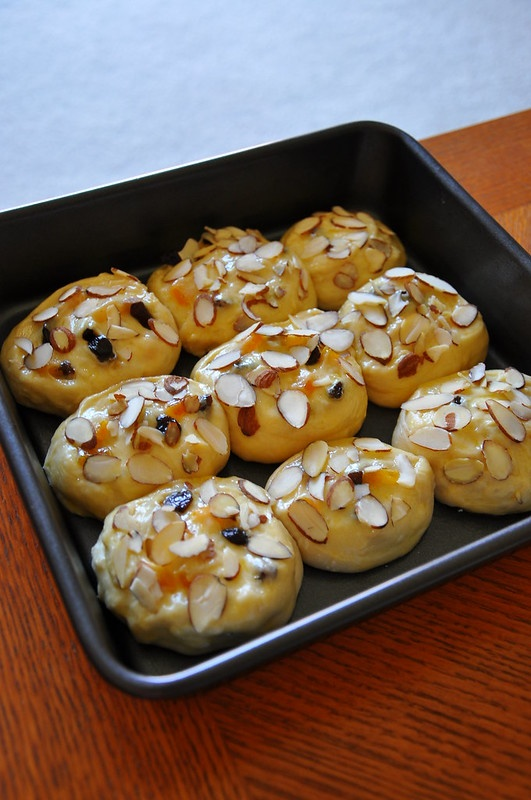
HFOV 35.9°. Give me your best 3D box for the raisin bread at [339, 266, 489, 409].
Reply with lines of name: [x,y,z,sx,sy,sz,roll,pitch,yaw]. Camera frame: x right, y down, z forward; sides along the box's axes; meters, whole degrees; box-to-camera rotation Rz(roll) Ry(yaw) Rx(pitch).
raisin bread: [0.247,-0.097,1.405,0.251,0.078,0.230,-26,71,-11]

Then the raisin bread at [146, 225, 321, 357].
raisin bread: [-0.059,-0.198,1.412,0.247,0.080,0.244,2,44,5]
